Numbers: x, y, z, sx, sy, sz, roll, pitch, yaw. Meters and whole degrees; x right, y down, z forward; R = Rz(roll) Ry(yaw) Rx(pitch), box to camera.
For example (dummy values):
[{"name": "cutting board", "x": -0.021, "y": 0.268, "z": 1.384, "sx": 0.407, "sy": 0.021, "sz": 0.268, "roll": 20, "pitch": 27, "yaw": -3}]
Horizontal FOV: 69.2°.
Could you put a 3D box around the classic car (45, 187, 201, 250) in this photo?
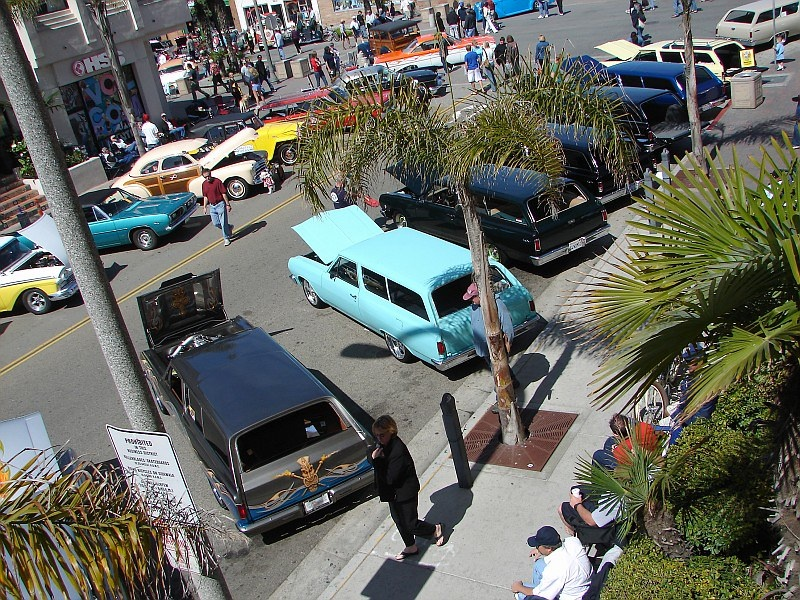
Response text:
[{"name": "classic car", "x": -8.334, "y": -2.564, "z": 18.295, "sx": 2.995, "sy": 2.007, "sz": 1.448, "roll": -13, "pitch": 20, "yaw": 1}]

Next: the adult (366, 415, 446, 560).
[{"name": "adult", "x": 0.057, "y": 2.489, "z": 7.510, "sx": 0.931, "sy": 2.216, "sz": 0.793, "roll": -13, "pitch": 27, "yaw": -14}]

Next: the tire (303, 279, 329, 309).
[{"name": "tire", "x": -1.908, "y": -0.137, "z": 13.031, "sx": 0.202, "sy": 0.564, "sz": 0.519, "roll": -14, "pitch": 18, "yaw": -37}]

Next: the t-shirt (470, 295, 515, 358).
[{"name": "t-shirt", "x": 1.496, "y": 0.528, "z": 9.536, "sx": 0.646, "sy": 0.905, "sz": 0.803, "roll": -10, "pitch": 20, "yaw": 5}]

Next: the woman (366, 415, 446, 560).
[{"name": "woman", "x": 0.057, "y": 2.489, "z": 7.510, "sx": 0.931, "sy": 2.216, "sz": 0.793, "roll": -13, "pitch": 27, "yaw": -14}]

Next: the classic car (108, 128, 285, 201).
[{"name": "classic car", "x": -7.122, "y": -4.767, "z": 20.889, "sx": 4.472, "sy": 2.219, "sz": 2.607, "roll": 1, "pitch": 28, "yaw": 5}]
